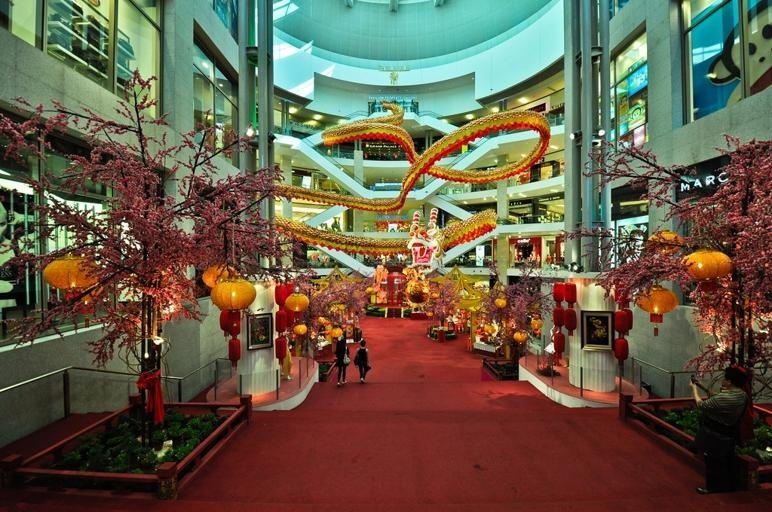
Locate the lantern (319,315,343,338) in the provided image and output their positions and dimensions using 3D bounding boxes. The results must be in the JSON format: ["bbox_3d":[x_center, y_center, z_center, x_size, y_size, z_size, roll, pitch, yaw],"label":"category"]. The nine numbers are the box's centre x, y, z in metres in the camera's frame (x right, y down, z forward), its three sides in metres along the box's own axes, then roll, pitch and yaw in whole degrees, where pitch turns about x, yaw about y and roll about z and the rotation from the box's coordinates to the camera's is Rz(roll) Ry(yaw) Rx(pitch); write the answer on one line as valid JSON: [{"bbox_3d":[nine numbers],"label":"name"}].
[{"bbox_3d":[-1.782,2.340,18.856,0.781,0.573,1.328,-2,-7,1],"label":"lantern"}]

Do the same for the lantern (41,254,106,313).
[{"bbox_3d":[-5.967,0.547,10.962,1.135,1.184,1.026,2,-4,-8],"label":"lantern"}]

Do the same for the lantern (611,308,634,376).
[{"bbox_3d":[5.570,1.987,13.510,0.402,1.872,1.062,6,16,24],"label":"lantern"}]

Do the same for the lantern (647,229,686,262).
[{"bbox_3d":[5.591,-0.212,11.368,0.570,0.455,0.559,0,-7,-13],"label":"lantern"}]

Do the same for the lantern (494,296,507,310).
[{"bbox_3d":[3.510,1.490,17.366,0.356,0.408,0.339,6,15,22],"label":"lantern"}]

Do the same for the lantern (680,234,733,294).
[{"bbox_3d":[6.095,0.233,10.793,0.750,0.779,0.748,-6,-12,14],"label":"lantern"}]

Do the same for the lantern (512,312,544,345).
[{"bbox_3d":[4.288,2.234,16.949,0.820,0.656,1.814,3,6,25],"label":"lantern"}]

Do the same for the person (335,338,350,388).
[{"bbox_3d":[-1.218,3.008,15.986,0.359,1.389,0.841,-1,14,-4],"label":"person"}]
